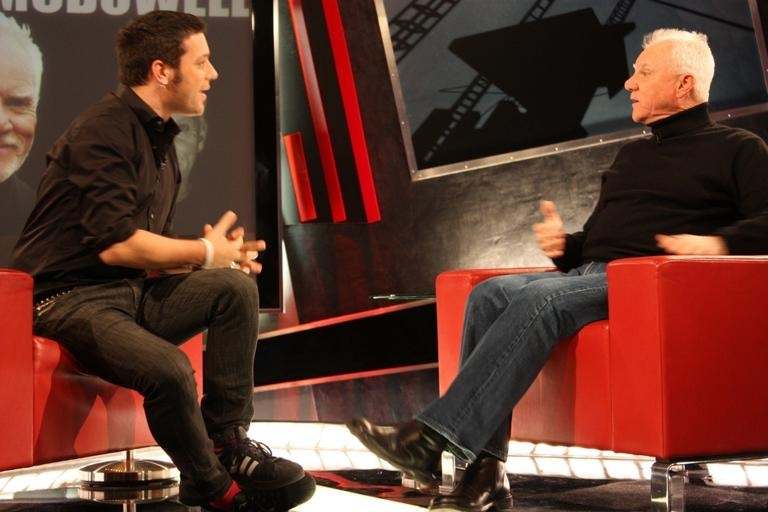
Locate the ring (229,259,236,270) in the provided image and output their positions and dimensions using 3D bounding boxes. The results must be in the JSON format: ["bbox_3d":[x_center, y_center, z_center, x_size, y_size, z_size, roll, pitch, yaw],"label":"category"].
[{"bbox_3d":[-0.535,0.030,2.573,0.031,0.024,0.049,8,-11,0],"label":"ring"}]
